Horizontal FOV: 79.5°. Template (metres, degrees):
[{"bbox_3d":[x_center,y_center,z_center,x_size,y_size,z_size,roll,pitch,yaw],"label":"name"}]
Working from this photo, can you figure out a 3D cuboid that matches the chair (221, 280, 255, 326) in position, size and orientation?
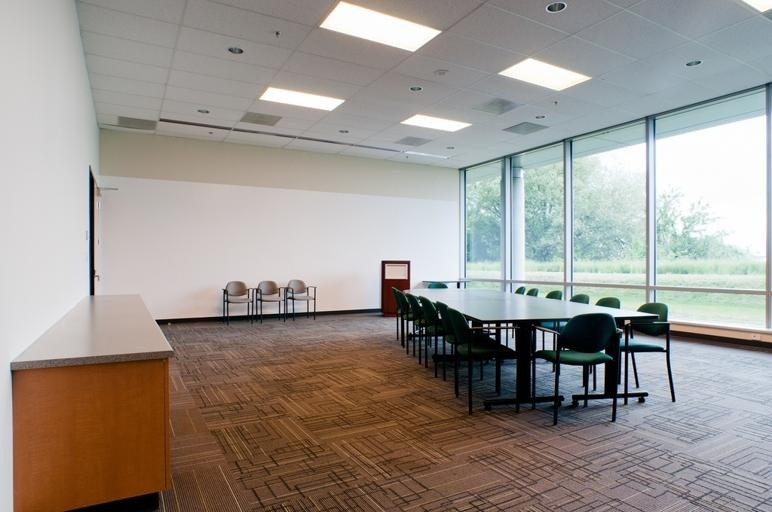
[{"bbox_3d":[-3.013,0.888,9.455,0.595,0.692,0.536,2,5,-31],"label":"chair"}]

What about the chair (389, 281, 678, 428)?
[{"bbox_3d":[1.753,0.939,5.422,1.882,1.061,2.160,-1,8,-7],"label":"chair"}]

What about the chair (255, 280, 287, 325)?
[{"bbox_3d":[-2.424,0.879,9.761,0.677,0.717,0.584,1,4,-5],"label":"chair"}]

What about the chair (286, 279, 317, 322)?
[{"bbox_3d":[-1.847,0.901,10.035,0.582,0.764,0.637,2,-1,38],"label":"chair"}]
